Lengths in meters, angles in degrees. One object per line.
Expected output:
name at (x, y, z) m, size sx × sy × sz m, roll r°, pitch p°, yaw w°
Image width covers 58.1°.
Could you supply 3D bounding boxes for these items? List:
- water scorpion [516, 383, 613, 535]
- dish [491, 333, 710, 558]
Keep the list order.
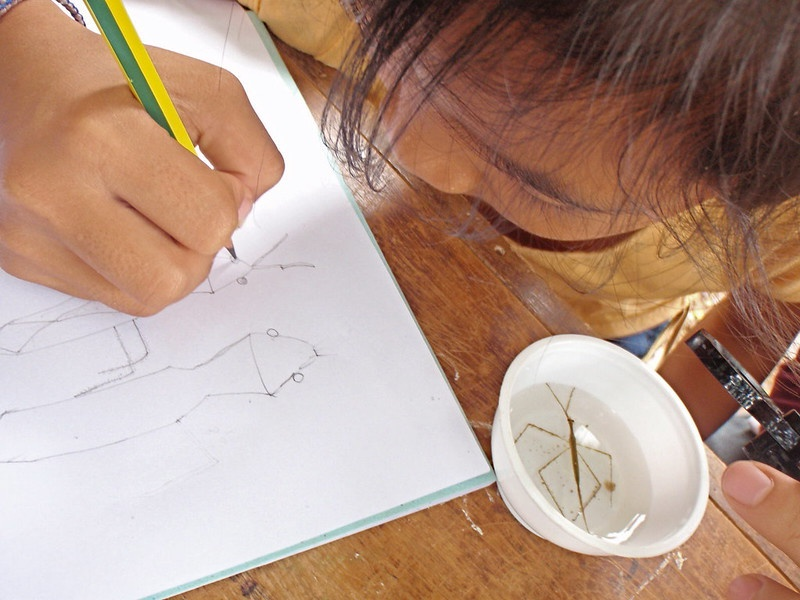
water scorpion at (0.157, 0.160, 0.722) m, size 0.079 × 0.023 × 0.144 m, roll -24°, pitch 88°, yaw -20°
dish at (0.177, 0.149, 0.707) m, size 0.193 × 0.079 × 0.223 m, roll -4°, pitch 77°, yaw -31°
